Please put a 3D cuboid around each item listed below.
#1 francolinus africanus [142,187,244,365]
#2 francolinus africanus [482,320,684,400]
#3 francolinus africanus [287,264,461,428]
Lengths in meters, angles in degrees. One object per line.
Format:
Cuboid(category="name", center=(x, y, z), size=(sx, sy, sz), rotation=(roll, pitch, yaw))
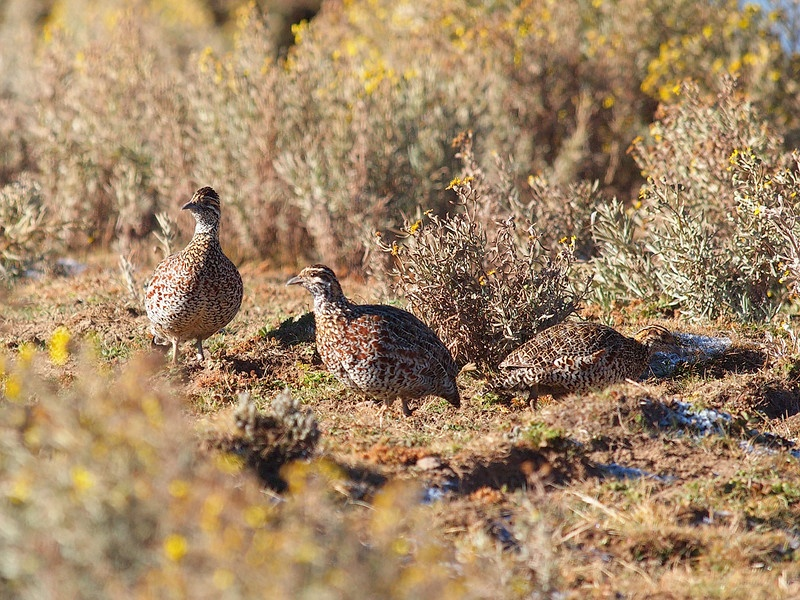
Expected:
Cuboid(category="francolinus africanus", center=(-1.879, -0.231, 9.092), size=(0.865, 1.504, 1.560), rotation=(0, 94, -26))
Cuboid(category="francolinus africanus", center=(1.516, 0.542, 8.419), size=(1.328, 0.664, 0.611), rotation=(13, 93, -12))
Cuboid(category="francolinus africanus", center=(-0.163, 0.387, 8.310), size=(1.548, 0.871, 1.213), rotation=(2, 89, -35))
